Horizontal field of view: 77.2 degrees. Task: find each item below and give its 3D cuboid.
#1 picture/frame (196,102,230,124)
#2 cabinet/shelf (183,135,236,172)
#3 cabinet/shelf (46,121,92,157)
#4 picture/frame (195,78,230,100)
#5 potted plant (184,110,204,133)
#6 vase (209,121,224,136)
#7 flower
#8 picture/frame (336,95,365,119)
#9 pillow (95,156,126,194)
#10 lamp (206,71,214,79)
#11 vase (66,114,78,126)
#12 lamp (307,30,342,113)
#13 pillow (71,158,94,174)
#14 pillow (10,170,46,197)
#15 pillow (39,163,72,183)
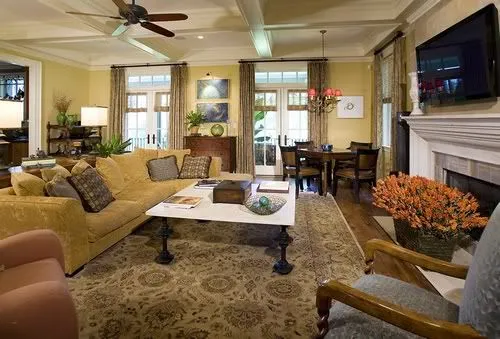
[{"bbox_3d":[-0.921,-1.442,7.908,0.725,0.376,0.026,0,3,2],"label":"picture/frame"},{"bbox_3d":[-0.874,-0.361,6.796,1.067,0.827,0.402,0,2,6],"label":"cabinet/shelf"},{"bbox_3d":[-4.195,-0.711,7.203,0.610,0.652,1.030,3,5,13],"label":"cabinet/shelf"},{"bbox_3d":[-0.904,-2.032,7.873,0.676,0.347,0.021,1,8,7],"label":"picture/frame"},{"bbox_3d":[-1.385,-1.163,7.934,0.635,0.513,0.591,0,-5,12],"label":"potted plant"},{"bbox_3d":[-0.792,-0.980,7.676,0.357,0.320,0.336,-6,-2,-9],"label":"vase"},{"bbox_3d":[1.798,0.355,3.221,0.860,0.428,0.873,8,4,31],"label":"flower"},{"bbox_3d":[2.384,-1.500,7.416,0.651,0.465,0.059,1,8,7],"label":"picture/frame"},{"bbox_3d":[-1.918,0.084,4.311,0.266,0.415,0.522,-4,9,-4],"label":"pillow"},{"bbox_3d":[-1.000,-2.365,7.867,0.190,0.172,0.049,2,12,18],"label":"lamp"},{"bbox_3d":[-4.129,-1.175,7.400,0.290,0.269,0.265,0,4,6],"label":"vase"},{"bbox_3d":[1.659,-2.088,7.019,0.753,1.695,1.169,1,12,10],"label":"lamp"},{"bbox_3d":[-2.227,-0.042,4.175,0.198,0.053,0.182,3,30,20],"label":"pillow"},{"bbox_3d":[-2.324,0.152,3.309,0.281,0.257,0.142,-8,13,-30],"label":"pillow"},{"bbox_3d":[-2.234,0.031,3.606,0.203,0.147,0.405,0,9,2],"label":"pillow"}]
